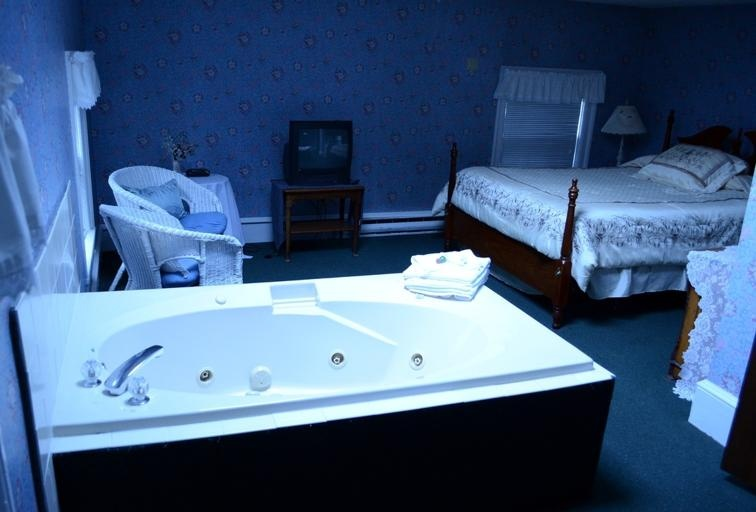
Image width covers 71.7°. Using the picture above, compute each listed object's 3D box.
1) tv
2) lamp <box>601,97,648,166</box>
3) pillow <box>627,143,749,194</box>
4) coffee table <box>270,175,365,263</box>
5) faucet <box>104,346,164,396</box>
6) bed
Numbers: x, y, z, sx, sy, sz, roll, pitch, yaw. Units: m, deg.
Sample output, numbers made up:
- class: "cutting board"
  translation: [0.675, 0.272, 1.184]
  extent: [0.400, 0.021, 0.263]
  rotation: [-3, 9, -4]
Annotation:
- class: "tv"
  translation: [-0.654, -1.074, 5.622]
  extent: [0.764, 0.748, 0.653]
  rotation: [-3, 23, -15]
- class: "lamp"
  translation: [3.060, -1.506, 6.571]
  extent: [0.549, 0.882, 0.555]
  rotation: [17, 60, 34]
- class: "pillow"
  translation: [3.075, -0.858, 5.073]
  extent: [0.661, 0.179, 0.674]
  rotation: [7, 28, 26]
- class: "coffee table"
  translation: [-0.670, -0.432, 5.614]
  extent: [0.909, 0.750, 0.740]
  rotation: [-4, 18, -13]
- class: "faucet"
  translation: [-1.014, 0.435, 2.247]
  extent: [0.094, 0.093, 0.371]
  rotation: [14, 28, 13]
- class: "bed"
  translation: [2.118, -0.322, 4.646]
  extent: [2.085, 1.364, 1.835]
  rotation: [-3, 16, -13]
